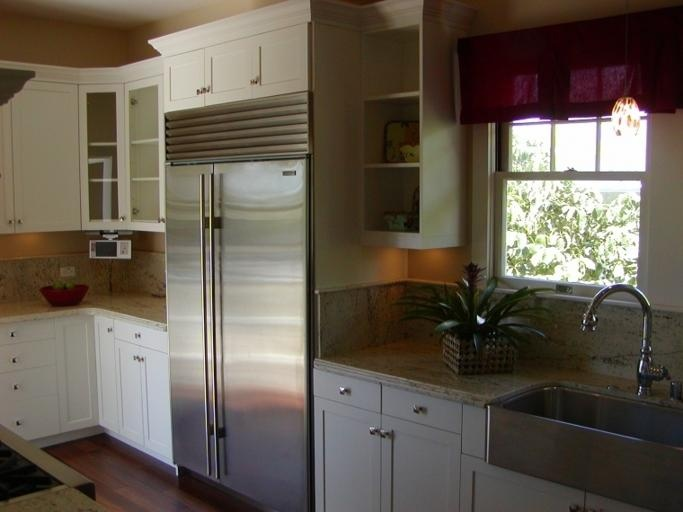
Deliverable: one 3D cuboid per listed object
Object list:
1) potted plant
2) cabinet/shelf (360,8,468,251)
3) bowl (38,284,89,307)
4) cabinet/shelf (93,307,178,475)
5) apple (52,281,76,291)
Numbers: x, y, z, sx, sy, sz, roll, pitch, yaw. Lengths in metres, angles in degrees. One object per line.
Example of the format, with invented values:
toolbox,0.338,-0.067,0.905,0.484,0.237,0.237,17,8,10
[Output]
potted plant,0.658,0.338,3.020,0.734,0.546,0.838,-10,8,-32
cabinet/shelf,0.416,-0.737,3.291,0.556,1.337,0.427,10,11,41
bowl,-2.231,0.306,4.532,0.222,0.102,0.227,1,4,0
cabinet/shelf,-1.446,0.997,4.430,1.013,1.006,0.523,5,6,35
apple,-2.210,0.230,4.529,0.110,0.078,0.148,1,1,41
